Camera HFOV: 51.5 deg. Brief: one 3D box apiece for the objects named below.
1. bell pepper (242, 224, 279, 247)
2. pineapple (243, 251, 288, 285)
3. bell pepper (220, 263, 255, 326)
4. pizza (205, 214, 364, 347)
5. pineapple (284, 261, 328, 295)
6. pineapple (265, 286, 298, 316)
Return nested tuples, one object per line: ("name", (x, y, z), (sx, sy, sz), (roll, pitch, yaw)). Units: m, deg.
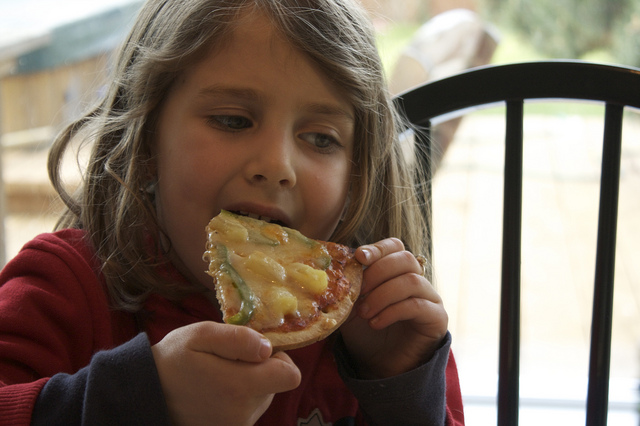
("bell pepper", (-0.152, 0.042, 1.701), (0.083, 0.024, 0.047), (27, 10, 10))
("pineapple", (-0.132, 0.136, 1.647), (0.110, 0.037, 0.064), (39, 33, 4))
("bell pepper", (-0.184, 0.193, 1.592), (0.078, 0.119, 0.111), (5, 10, -10))
("pizza", (-0.095, 0.179, 1.662), (0.352, 0.062, 0.336), (16, 47, -18))
("pineapple", (-0.040, 0.161, 1.690), (0.107, 0.039, 0.060), (36, 42, 10))
("pineapple", (-0.097, 0.216, 1.656), (0.104, 0.049, 0.115), (2, 14, -19))
